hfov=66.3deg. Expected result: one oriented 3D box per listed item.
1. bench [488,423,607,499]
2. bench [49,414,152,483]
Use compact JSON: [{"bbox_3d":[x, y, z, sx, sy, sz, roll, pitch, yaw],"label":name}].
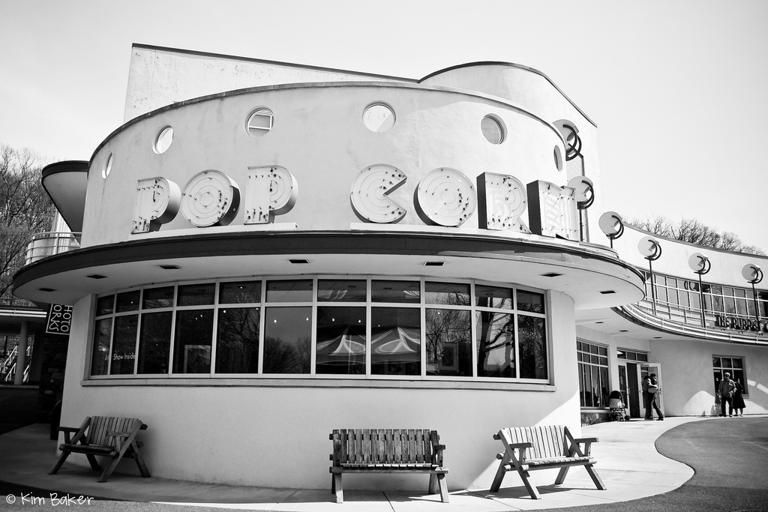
[{"bbox_3d":[3.926,5.106,14.611,2.618,1.643,1.597,8,-15,-30],"label":"bench"},{"bbox_3d":[-7.422,5.167,15.788,2.455,1.585,1.042,-6,-14,25],"label":"bench"}]
